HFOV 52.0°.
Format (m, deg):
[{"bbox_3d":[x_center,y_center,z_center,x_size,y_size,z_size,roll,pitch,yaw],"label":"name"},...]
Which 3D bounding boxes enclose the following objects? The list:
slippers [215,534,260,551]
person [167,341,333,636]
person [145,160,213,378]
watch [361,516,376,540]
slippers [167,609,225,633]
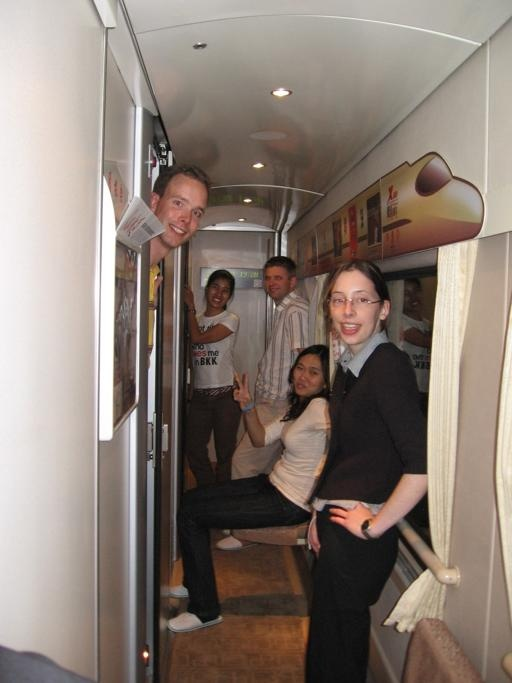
[{"bbox_3d":[-0.147,1.360,3.602,0.232,0.067,0.128,11,-11,-14],"label":"slippers"},{"bbox_3d":[-0.012,0.737,2.830,0.802,1.447,0.525,3,8,-6],"label":"person"},{"bbox_3d":[-0.287,-0.279,1.948,0.204,0.690,0.466,1,4,-11],"label":"person"},{"bbox_3d":[0.363,0.608,1.730,0.056,0.054,0.059,-18,-3,2],"label":"watch"},{"bbox_3d":[-0.303,1.404,2.704,0.254,0.074,0.092,6,-10,-17],"label":"slippers"}]
